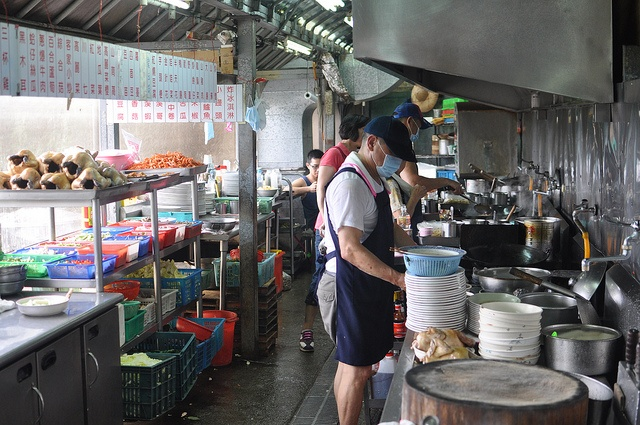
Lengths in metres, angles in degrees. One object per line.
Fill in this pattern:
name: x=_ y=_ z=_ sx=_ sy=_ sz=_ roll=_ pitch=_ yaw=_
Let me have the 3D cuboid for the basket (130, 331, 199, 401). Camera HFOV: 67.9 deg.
basket: x=-1.285 y=1.267 z=3.988 sx=0.412 sy=0.320 sz=0.641 roll=0 pitch=-1 yaw=3

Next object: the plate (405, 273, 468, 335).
plate: x=0.584 y=0.450 z=2.434 sx=0.298 sy=0.245 sz=0.292 roll=0 pitch=-2 yaw=-1

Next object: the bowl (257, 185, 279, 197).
bowl: x=-0.784 y=-0.296 z=6.946 sx=0.385 sy=0.138 sz=0.288 roll=-5 pitch=10 yaw=-27

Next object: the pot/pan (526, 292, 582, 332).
pot/pan: x=1.155 y=0.485 z=2.349 sx=0.167 sy=0.102 sz=0.163 roll=-5 pitch=10 yaw=-18

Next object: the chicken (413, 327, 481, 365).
chicken: x=0.549 y=0.570 z=2.061 sx=0.282 sy=0.114 sz=0.239 roll=5 pitch=22 yaw=2

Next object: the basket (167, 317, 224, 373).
basket: x=-1.115 y=1.218 z=4.486 sx=0.399 sy=0.226 sz=0.625 roll=0 pitch=-1 yaw=5

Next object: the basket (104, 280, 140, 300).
basket: x=-1.601 y=0.621 z=3.871 sx=0.225 sy=0.090 sz=0.224 roll=1 pitch=5 yaw=14

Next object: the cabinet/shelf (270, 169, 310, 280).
cabinet/shelf: x=-0.490 y=0.247 z=7.635 sx=0.678 sy=1.785 sz=1.844 roll=1 pitch=5 yaw=5

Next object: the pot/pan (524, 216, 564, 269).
pot/pan: x=1.767 y=0.235 z=3.751 sx=0.379 sy=0.364 sz=0.374 roll=-1 pitch=1 yaw=5

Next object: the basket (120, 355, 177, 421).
basket: x=-1.319 y=1.352 z=3.744 sx=0.332 sy=0.292 sz=0.472 roll=0 pitch=-4 yaw=1

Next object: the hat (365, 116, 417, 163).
hat: x=0.419 y=-0.448 z=2.880 sx=0.302 sy=0.260 sz=0.181 roll=0 pitch=9 yaw=4

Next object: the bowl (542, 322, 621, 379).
bowl: x=1.101 y=0.608 z=2.025 sx=0.282 sy=0.119 sz=0.250 roll=5 pitch=-10 yaw=-7

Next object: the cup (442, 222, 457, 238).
cup: x=1.181 y=0.153 z=4.355 sx=0.144 sy=0.131 sz=0.124 roll=-1 pitch=2 yaw=9

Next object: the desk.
desk: x=-0.931 y=0.500 z=5.306 sx=0.707 sy=0.687 sz=1.442 roll=2 pitch=6 yaw=5

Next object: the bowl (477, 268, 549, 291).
bowl: x=1.077 y=0.384 z=2.696 sx=0.235 sy=0.074 sz=0.230 roll=0 pitch=2 yaw=0

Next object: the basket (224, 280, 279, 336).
basket: x=-0.717 y=0.980 z=5.310 sx=0.480 sy=0.538 sz=0.758 roll=-1 pitch=1 yaw=19

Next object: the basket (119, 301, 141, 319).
basket: x=-1.457 y=0.746 z=3.650 sx=0.097 sy=0.057 sz=0.136 roll=0 pitch=-3 yaw=-5

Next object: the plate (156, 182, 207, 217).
plate: x=-1.638 y=-0.148 z=5.467 sx=0.405 sy=0.246 sz=0.396 roll=0 pitch=1 yaw=-10

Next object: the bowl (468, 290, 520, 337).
bowl: x=0.832 y=0.490 z=2.312 sx=0.197 sy=0.123 sz=0.213 roll=0 pitch=2 yaw=0

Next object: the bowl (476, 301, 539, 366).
bowl: x=0.808 y=0.511 z=2.074 sx=0.260 sy=0.188 sz=0.259 roll=0 pitch=4 yaw=0

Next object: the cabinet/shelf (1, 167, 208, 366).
cabinet/shelf: x=-1.674 y=0.433 z=3.681 sx=0.718 sy=1.190 sz=1.869 roll=0 pitch=5 yaw=5

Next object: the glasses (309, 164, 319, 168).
glasses: x=-0.089 y=-0.703 z=7.127 sx=0.071 sy=0.073 sz=0.023 roll=0 pitch=47 yaw=1

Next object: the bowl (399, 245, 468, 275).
bowl: x=0.571 y=0.246 z=2.431 sx=0.340 sy=0.119 sz=0.337 roll=0 pitch=7 yaw=0

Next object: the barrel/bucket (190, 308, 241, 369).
barrel/bucket: x=-1.039 y=1.271 z=4.820 sx=0.433 sy=0.396 sz=0.459 roll=-1 pitch=-1 yaw=0

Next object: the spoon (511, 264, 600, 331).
spoon: x=1.190 y=0.370 z=2.452 sx=0.266 sy=0.156 sz=0.501 roll=-23 pitch=-43 yaw=30

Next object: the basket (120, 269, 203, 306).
basket: x=-1.420 y=0.654 z=4.174 sx=0.469 sy=0.186 sz=0.582 roll=0 pitch=2 yaw=5

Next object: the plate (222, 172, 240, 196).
plate: x=-1.277 y=-0.397 z=6.671 sx=0.237 sy=0.337 sz=0.112 roll=4 pitch=10 yaw=24

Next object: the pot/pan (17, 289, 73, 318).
pot/pan: x=-1.709 y=0.559 z=2.978 sx=0.168 sy=0.080 sz=0.211 roll=-2 pitch=-4 yaw=32
